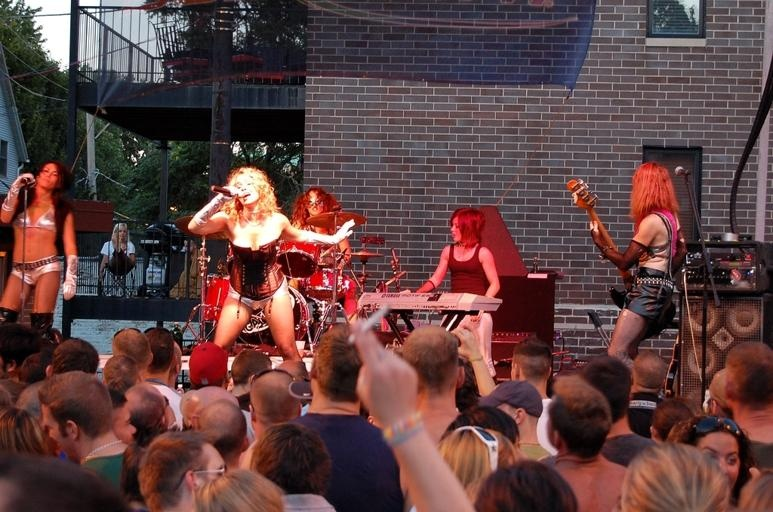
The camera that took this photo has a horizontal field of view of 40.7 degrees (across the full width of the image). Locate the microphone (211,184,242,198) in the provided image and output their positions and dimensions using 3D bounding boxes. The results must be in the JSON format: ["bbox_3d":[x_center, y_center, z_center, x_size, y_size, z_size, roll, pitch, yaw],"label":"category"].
[{"bbox_3d":[-1.615,-0.654,10.294,0.243,0.107,0.249,3,-2,40],"label":"microphone"}]

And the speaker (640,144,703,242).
[{"bbox_3d":[4.128,-1.069,14.727,0.598,1.664,0.911,3,7,-6],"label":"speaker"}]

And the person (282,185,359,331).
[{"bbox_3d":[-0.829,-0.157,13.360,0.887,1.740,0.763,0,44,1],"label":"person"}]

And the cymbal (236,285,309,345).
[{"bbox_3d":[-1.368,0.759,12.651,0.758,0.778,1.177,1,6,0],"label":"cymbal"}]

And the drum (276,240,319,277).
[{"bbox_3d":[-1.060,0.013,12.597,0.447,0.435,0.429,-16,33,10],"label":"drum"}]

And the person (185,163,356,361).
[{"bbox_3d":[-1.269,-0.018,10.615,0.989,2.082,1.062,0,0,15],"label":"person"}]

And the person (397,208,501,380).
[{"bbox_3d":[0.721,0.417,12.074,1.063,1.947,0.974,1,0,-5],"label":"person"}]

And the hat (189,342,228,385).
[{"bbox_3d":[-1.568,0.934,9.178,0.292,0.223,0.392,2,38,-5],"label":"hat"}]

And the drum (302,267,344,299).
[{"bbox_3d":[-0.806,0.350,13.205,0.439,0.300,0.440,2,-2,0],"label":"drum"}]

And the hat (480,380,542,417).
[{"bbox_3d":[0.982,1.066,8.138,0.429,0.270,0.427,6,18,7],"label":"hat"}]

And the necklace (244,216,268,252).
[{"bbox_3d":[-1.331,-0.217,10.468,0.275,0.356,0.089,1,-2,-4],"label":"necklace"}]
